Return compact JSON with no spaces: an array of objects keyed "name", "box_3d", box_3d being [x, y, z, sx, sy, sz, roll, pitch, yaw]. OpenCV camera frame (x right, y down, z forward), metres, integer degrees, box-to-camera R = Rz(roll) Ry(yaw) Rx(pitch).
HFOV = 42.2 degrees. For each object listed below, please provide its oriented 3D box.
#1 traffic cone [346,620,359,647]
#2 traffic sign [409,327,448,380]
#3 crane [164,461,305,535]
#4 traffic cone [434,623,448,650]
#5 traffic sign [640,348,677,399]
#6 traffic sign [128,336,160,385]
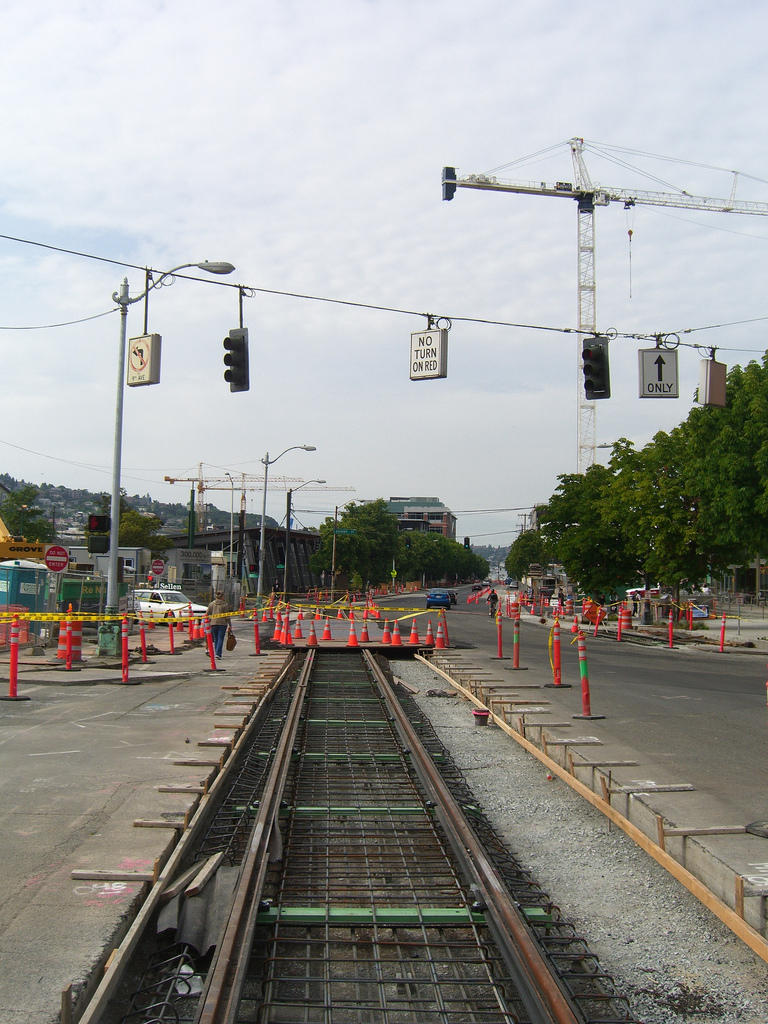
[{"name":"traffic cone","box_3d":[-0.831,3.072,24.954,0.393,0.580,0.426,0,-5,3]},{"name":"traffic sign","box_3d":[0.705,-2.547,16.075,0.850,0.940,0.447,-3,-3,45]},{"name":"crane","box_3d":[-5.395,0.565,52.265,2.709,8.739,1.097,3,22,-8]},{"name":"traffic cone","box_3d":[1.370,3.161,25.293,0.427,0.619,0.440,2,-5,-7]},{"name":"traffic sign","box_3d":[4.482,-2.285,16.475,0.584,0.824,0.245,-1,-2,-3]},{"name":"traffic sign","box_3d":[-4.381,-2.715,17.989,0.886,0.989,0.392,-3,-3,43]}]
